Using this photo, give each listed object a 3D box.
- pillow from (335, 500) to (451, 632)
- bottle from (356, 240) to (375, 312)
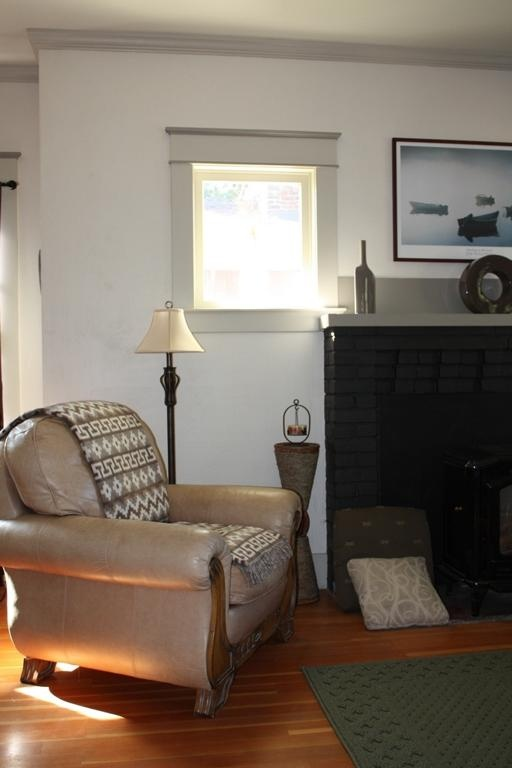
[{"bbox_3d":[0.548,0.750,2.684,0.437,0.475,0.426,-1,0,2],"label":"pillow"},{"bbox_3d":[0.506,-0.497,2.991,0.081,0.334,0.096,-1,0,21],"label":"bottle"}]
